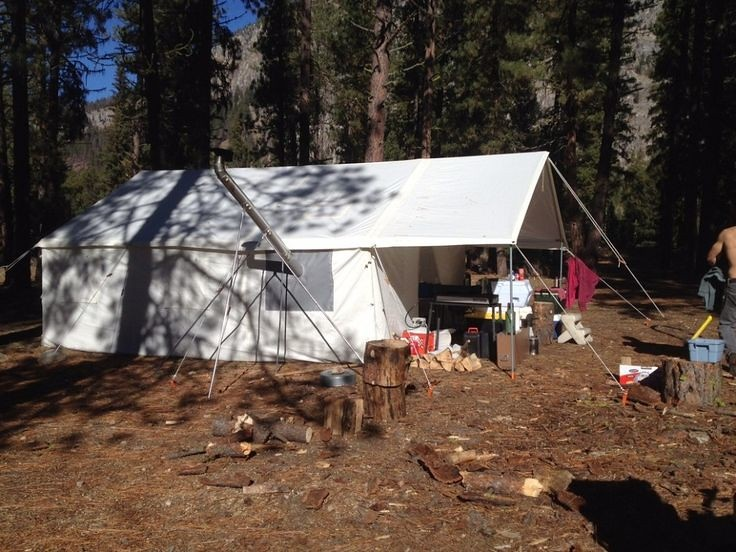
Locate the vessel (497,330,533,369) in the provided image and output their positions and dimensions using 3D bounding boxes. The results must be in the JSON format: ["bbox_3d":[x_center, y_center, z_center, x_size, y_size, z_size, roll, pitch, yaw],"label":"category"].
[{"bbox_3d":[2.487,1.199,10.526,0.331,0.654,1.132,5,13,29],"label":"vessel"}]

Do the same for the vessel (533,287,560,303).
[{"bbox_3d":[3.849,0.430,13.251,0.547,0.217,0.444,-1,1,24],"label":"vessel"}]

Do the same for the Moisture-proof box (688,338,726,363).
[{"bbox_3d":[4.735,1.071,8.592,0.418,0.307,0.358,-2,-1,32],"label":"Moisture-proof box"}]
